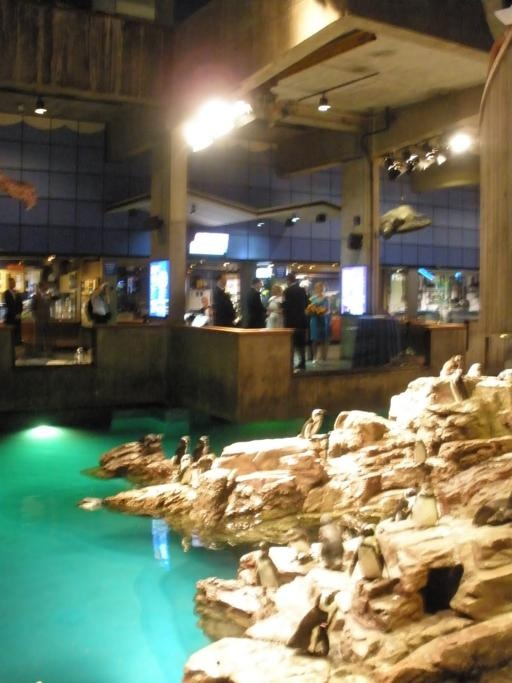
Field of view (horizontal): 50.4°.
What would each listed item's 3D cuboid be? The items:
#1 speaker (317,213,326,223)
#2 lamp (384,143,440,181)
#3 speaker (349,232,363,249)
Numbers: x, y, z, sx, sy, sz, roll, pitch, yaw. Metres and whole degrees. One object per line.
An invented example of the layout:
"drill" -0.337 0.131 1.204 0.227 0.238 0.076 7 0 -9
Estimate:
"speaker" 1.692 -3.222 14.235 0.197 0.222 0.200 0 -3 7
"lamp" 3.411 -3.981 11.952 0.849 0.338 0.847 -36 22 -30
"speaker" 2.272 -2.294 12.513 0.316 0.437 0.300 -5 13 -21
